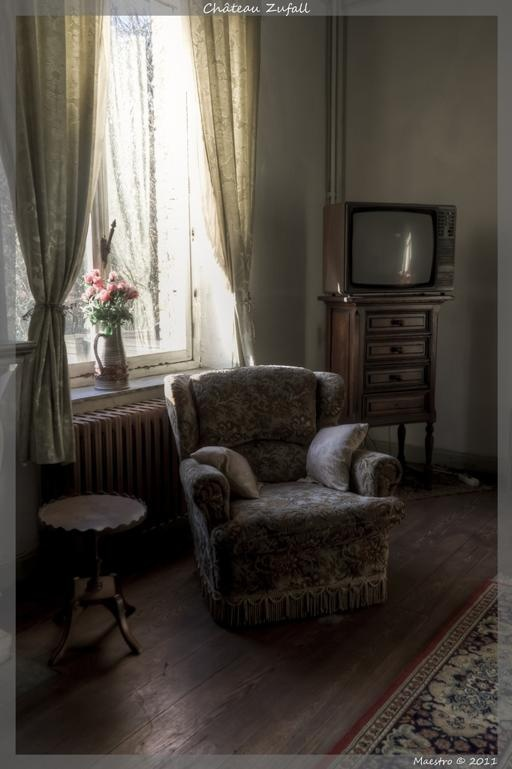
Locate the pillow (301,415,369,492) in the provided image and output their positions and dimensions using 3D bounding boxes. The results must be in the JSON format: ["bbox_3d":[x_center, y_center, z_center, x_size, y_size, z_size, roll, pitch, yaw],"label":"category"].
[{"bbox_3d":[0.286,0.281,2.265,0.124,0.231,0.257,-7,4,-26],"label":"pillow"}]

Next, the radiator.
[{"bbox_3d":[-0.538,0.313,2.460,0.413,0.382,0.059,-6,4,7],"label":"radiator"}]

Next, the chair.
[{"bbox_3d":[0.067,0.324,2.293,0.739,0.846,0.888,-2,2,-18],"label":"chair"}]

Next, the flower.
[{"bbox_3d":[-0.637,-0.333,2.495,0.231,0.258,0.211,-10,-8,-32],"label":"flower"}]
